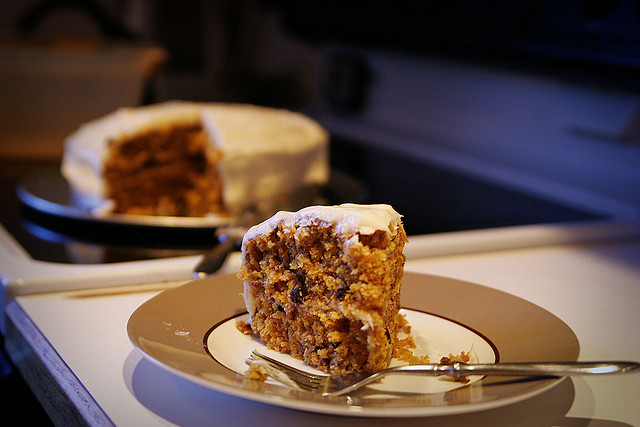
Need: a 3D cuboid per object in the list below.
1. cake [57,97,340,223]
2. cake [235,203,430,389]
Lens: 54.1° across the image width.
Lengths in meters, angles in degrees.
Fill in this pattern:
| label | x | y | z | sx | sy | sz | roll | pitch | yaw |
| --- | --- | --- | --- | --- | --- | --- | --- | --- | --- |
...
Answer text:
| label | x | y | z | sx | sy | sz | roll | pitch | yaw |
| --- | --- | --- | --- | --- | --- | --- | --- | --- | --- |
| cake | -0.319 | -0.134 | 1.704 | 0.743 | 0.233 | 0.332 | 4 | 34 | -4 |
| cake | 0.021 | 0.105 | 1.068 | 0.304 | 0.263 | 0.286 | -11 | 17 | -40 |
